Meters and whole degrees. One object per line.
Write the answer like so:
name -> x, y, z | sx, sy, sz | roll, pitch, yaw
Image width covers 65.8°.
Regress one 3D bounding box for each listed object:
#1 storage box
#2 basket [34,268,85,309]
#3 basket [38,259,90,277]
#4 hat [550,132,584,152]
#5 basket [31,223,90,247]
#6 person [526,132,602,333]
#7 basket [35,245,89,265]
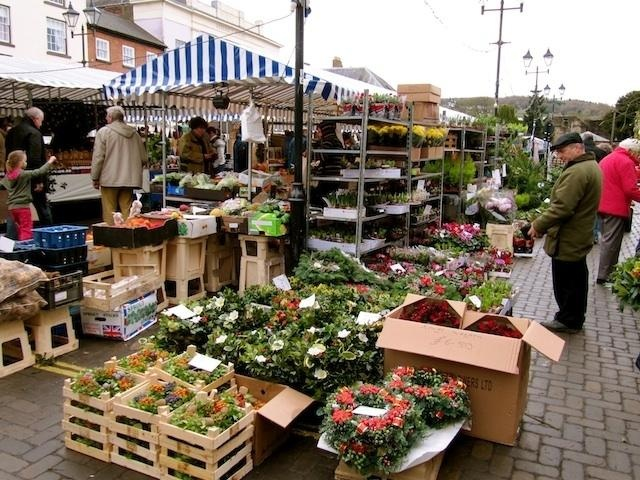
storage box -> 1.347, 0.789, 4.373 | 1.554, 0.881, 1.151 | 8, 9, 31
basket -> -2.775, 0.513, 5.284 | 0.312, 0.346, 0.531 | 2, 6, 17
basket -> -2.898, 0.319, 5.690 | 0.221, 0.116, 0.360 | 0, 1, 27
hat -> 3.036, -1.206, 6.055 | 0.316, 0.150, 0.247 | -2, 3, 1
basket -> -2.933, -0.099, 5.719 | 0.340, 0.175, 0.469 | 2, 4, 26
person -> 3.048, -0.058, 6.145 | 0.823, 2.471, 0.486 | 5, 15, 14
basket -> -2.922, 0.177, 5.692 | 0.235, 0.135, 0.336 | 1, 3, 29
